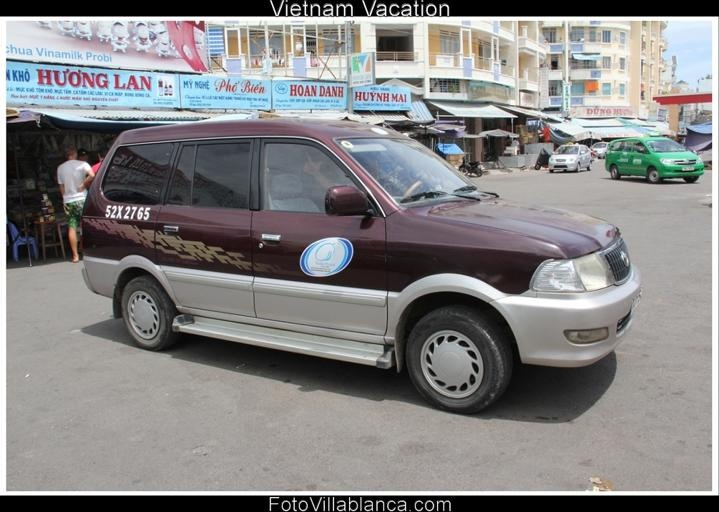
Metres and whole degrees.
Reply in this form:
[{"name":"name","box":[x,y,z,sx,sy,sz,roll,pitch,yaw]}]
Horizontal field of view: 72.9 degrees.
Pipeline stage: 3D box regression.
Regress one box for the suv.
[{"name":"suv","box":[-0.285,-0.158,5.404,5.637,2.109,2.672,2,9,23]}]

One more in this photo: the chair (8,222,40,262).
[{"name":"chair","box":[-7.923,-0.365,11.464,0.510,0.991,1.916,-13,17,-35]}]

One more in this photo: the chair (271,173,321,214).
[{"name":"chair","box":[-0.633,-0.570,4.660,0.504,0.453,0.428,-2,7,-37]}]
